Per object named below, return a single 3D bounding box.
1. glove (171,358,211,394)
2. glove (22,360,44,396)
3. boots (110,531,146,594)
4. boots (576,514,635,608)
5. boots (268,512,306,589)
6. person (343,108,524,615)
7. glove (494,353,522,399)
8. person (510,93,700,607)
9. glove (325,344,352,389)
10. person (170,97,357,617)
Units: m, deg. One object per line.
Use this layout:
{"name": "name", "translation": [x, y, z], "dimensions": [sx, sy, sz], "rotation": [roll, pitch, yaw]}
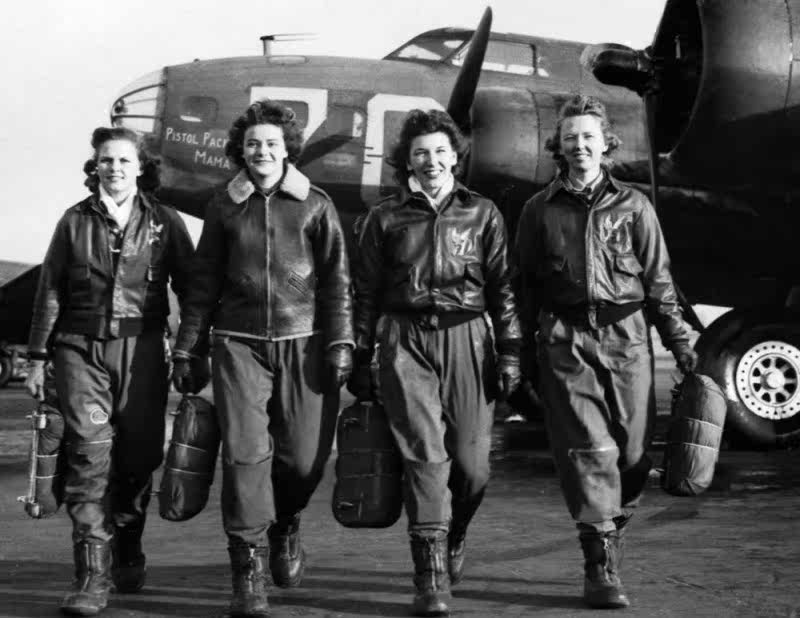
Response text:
{"name": "glove", "translation": [-1.092, 0.337, 4.904], "dimensions": [0.167, 0.208, 0.075], "rotation": [1, 1, -16]}
{"name": "glove", "translation": [-1.916, 0.364, 4.914], "dimensions": [0.119, 0.171, 0.082], "rotation": [5, 0, -22]}
{"name": "boots", "translation": [-1.411, 1.326, 4.895], "dimensions": [0.170, 0.216, 0.154], "rotation": [3, 1, -4]}
{"name": "boots", "translation": [1.022, 1.264, 4.725], "dimensions": [0.258, 0.385, 0.486], "rotation": [3, 1, 12]}
{"name": "boots", "translation": [-0.574, 1.280, 4.931], "dimensions": [0.146, 0.412, 0.182], "rotation": [-5, 2, 16]}
{"name": "person", "translation": [0.236, 0.198, 4.943], "dimensions": [0.693, 2.124, 0.823], "rotation": [2, 1, -38]}
{"name": "glove", "translation": [0.561, 0.353, 4.937], "dimensions": [0.168, 0.200, 0.105], "rotation": [15, -5, -38]}
{"name": "person", "translation": [1.004, 0.114, 5.039], "dimensions": [0.790, 2.364, 0.780], "rotation": [4, 1, 37]}
{"name": "glove", "translation": [-0.302, 0.293, 4.771], "dimensions": [0.093, 0.204, 0.152], "rotation": [12, -11, -41]}
{"name": "person", "translation": [-0.679, 0.182, 4.882], "dimensions": [0.790, 1.919, 0.715], "rotation": [4, 2, 43]}
